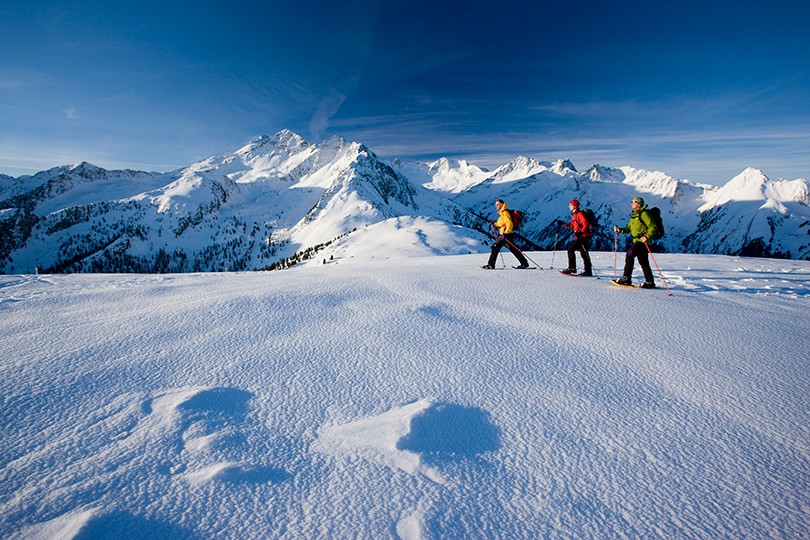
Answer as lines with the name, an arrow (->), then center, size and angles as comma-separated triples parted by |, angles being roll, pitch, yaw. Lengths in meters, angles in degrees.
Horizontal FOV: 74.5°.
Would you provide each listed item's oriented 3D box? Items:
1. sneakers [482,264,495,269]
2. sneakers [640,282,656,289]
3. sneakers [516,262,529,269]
sneakers -> 3.391, -0.166, 22.076 | 0.217, 0.185, 0.477 | 5, 2, -22
sneakers -> 7.185, 0.443, 15.841 | 0.242, 0.100, 0.318 | -10, -12, 30
sneakers -> 4.851, -0.186, 21.913 | 0.308, 0.176, 0.605 | 6, -2, 11
